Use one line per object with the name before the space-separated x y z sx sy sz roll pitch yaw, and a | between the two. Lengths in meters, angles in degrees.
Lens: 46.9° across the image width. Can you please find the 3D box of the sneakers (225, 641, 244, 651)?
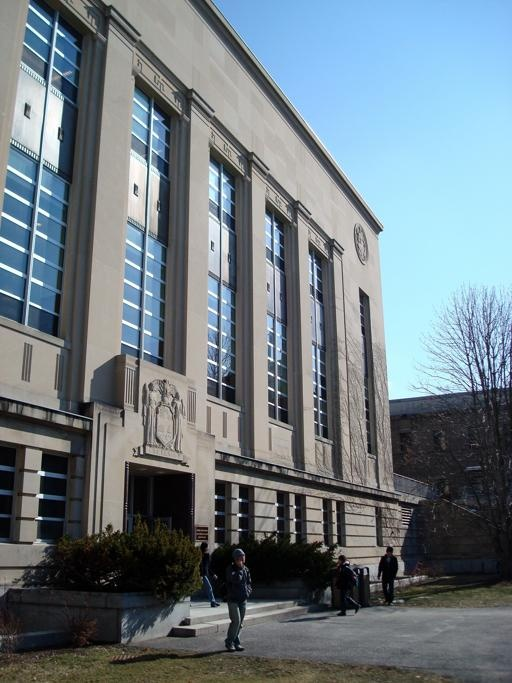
sneakers | -0.305 4.548 8.778 0.289 0.129 0.256 -3 -18 -5

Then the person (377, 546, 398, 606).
person | 4.048 7.149 18.014 0.475 1.816 0.454 -1 4 7

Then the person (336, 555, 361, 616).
person | 2.431 6.472 15.717 0.546 1.419 2.610 -5 -18 7
